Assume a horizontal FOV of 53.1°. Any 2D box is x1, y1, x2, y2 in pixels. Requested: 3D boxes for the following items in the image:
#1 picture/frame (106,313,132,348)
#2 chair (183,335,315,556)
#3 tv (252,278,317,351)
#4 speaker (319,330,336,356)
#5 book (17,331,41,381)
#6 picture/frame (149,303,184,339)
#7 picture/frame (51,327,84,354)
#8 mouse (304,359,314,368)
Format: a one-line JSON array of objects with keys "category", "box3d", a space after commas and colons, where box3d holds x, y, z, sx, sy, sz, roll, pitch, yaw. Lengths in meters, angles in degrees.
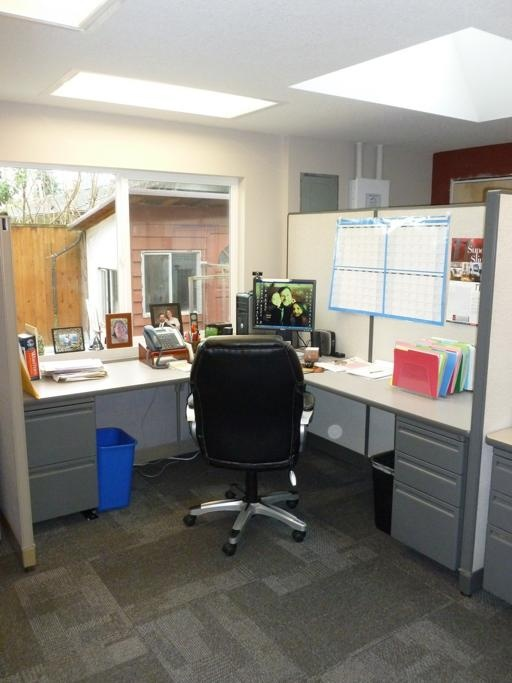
[{"category": "picture/frame", "box3d": [-0.903, -0.075, 3.343, 0.212, 0.302, 0.022, -4, 9, -34]}, {"category": "chair", "box3d": [-0.018, 0.429, 2.451, 0.603, 0.970, 0.656, 5, 11, 30]}, {"category": "tv", "box3d": [0.177, -0.197, 3.295, 0.465, 0.559, 0.197, 3, 9, 16]}, {"category": "speaker", "box3d": [0.480, 0.009, 3.451, 0.067, 0.189, 0.168, -3, 1, -34]}, {"category": "book", "box3d": [-1.165, 0.077, 2.621, 0.085, 0.233, 0.231, -22, 19, -30]}, {"category": "picture/frame", "box3d": [-0.595, -0.130, 3.372, 0.234, 0.268, 0.012, -5, -4, -32]}, {"category": "picture/frame", "box3d": [-1.176, -0.005, 3.189, 0.149, 0.138, 0.012, -9, 9, -37]}, {"category": "mouse", "box3d": [0.323, 0.134, 3.043, 0.036, 0.040, 0.045, 3, 14, 3]}]
